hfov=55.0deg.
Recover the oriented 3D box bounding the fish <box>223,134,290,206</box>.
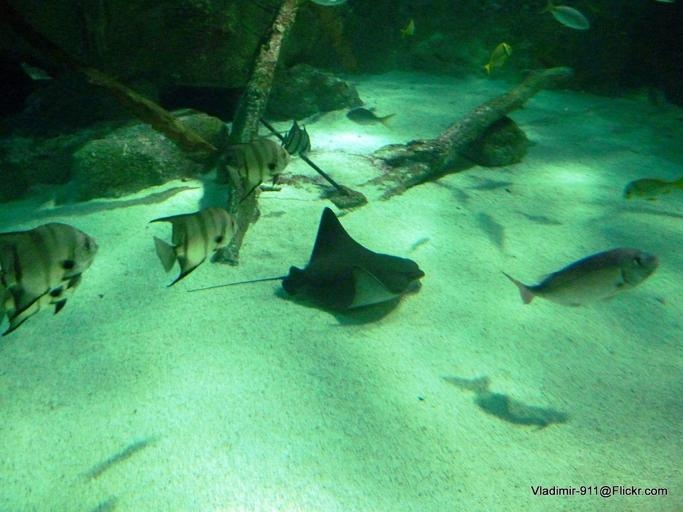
[{"bbox_3d":[-0.926,-1.002,7.245,0.714,0.522,0.336,-16,51,-21],"label":"fish"}]

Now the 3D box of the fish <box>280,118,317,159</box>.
[{"bbox_3d":[-0.631,-1.500,8.578,0.317,0.519,0.897,15,13,17],"label":"fish"}]

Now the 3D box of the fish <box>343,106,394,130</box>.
[{"bbox_3d":[0.495,-2.544,12.208,0.684,0.203,0.497,7,37,4],"label":"fish"}]
